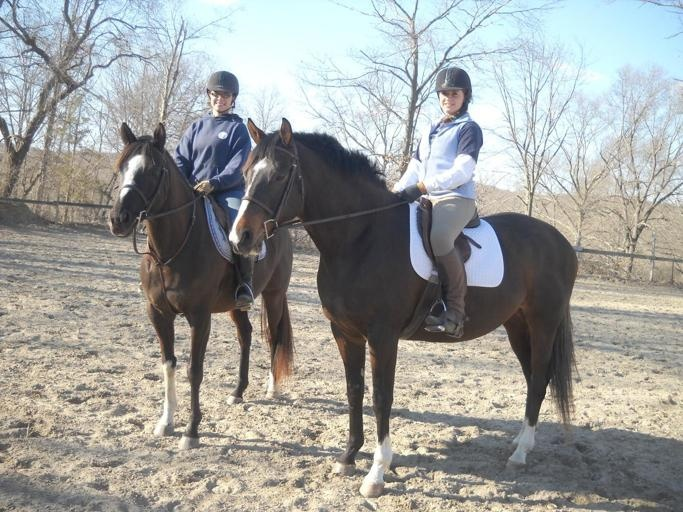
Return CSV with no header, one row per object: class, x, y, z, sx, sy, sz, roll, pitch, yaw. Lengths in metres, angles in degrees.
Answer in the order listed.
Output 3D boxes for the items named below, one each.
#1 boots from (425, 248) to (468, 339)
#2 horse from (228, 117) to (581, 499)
boots,1.268,0.402,8.403,0.270,1.060,0.644,-2,-9,37
horse,1.172,0.733,9.037,4.884,4.455,1.560,1,4,-22
